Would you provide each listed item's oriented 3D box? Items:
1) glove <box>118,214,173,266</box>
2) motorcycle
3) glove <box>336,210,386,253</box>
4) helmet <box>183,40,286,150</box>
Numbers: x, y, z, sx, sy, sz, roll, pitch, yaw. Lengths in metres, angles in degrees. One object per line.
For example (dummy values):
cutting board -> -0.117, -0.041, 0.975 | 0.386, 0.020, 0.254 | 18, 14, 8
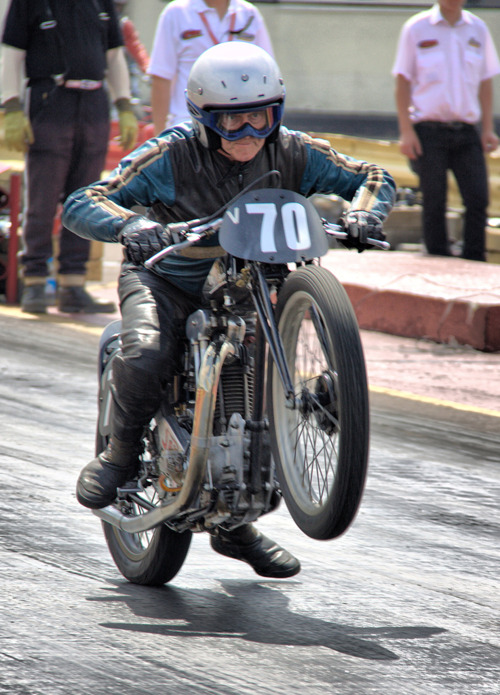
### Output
glove -> -0.258, -0.288, 2.041 | 0.106, 0.132, 0.049 | 24, -23, 18
motorcycle -> -0.044, 0.153, 2.231 | 0.706, 0.835, 1.414 | 2, -19, -27
glove -> 0.294, -0.326, 2.136 | 0.119, 0.123, 0.206 | 3, -2, 6
helmet -> -0.035, -0.722, 2.282 | 0.280, 0.244, 0.326 | -11, 35, -10
